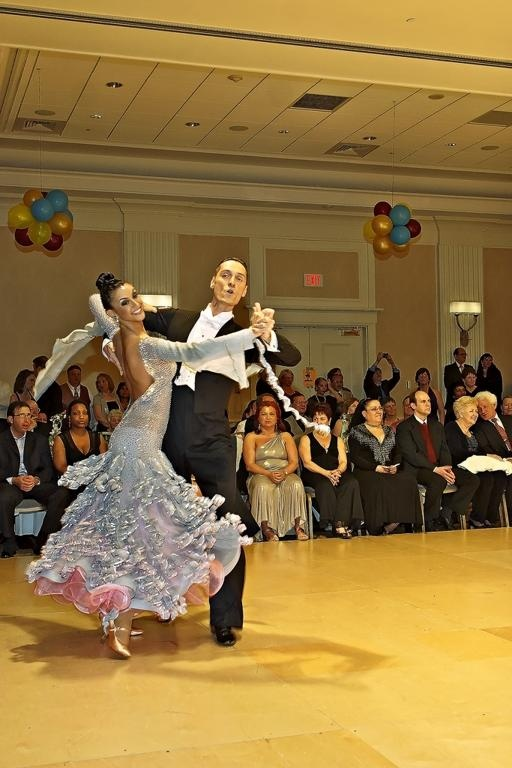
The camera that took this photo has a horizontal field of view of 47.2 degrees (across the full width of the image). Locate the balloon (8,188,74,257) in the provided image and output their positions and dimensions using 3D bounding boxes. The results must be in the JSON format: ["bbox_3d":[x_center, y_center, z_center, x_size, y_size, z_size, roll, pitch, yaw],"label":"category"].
[{"bbox_3d":[-2.779,-2.130,7.522,0.711,0.783,0.840,3,-9,-22],"label":"balloon"}]

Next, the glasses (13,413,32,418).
[{"bbox_3d":[-2.143,0.296,5.394,0.131,0.057,0.058,5,-10,-30],"label":"glasses"}]

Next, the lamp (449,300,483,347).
[{"bbox_3d":[3.969,-1.146,11.035,0.566,0.814,1.138,-3,-9,20],"label":"lamp"}]

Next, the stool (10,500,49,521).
[{"bbox_3d":[-2.090,1.155,5.379,0.345,0.113,0.323,0,-1,-3],"label":"stool"}]

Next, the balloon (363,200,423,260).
[{"bbox_3d":[2.101,-2.148,8.638,0.645,0.739,1.438,-5,-10,31],"label":"balloon"}]

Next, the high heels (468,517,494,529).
[{"bbox_3d":[2.396,1.476,6.260,0.319,0.117,0.113,-4,-2,22],"label":"high heels"}]

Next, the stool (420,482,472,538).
[{"bbox_3d":[2.033,1.314,6.309,0.473,0.473,1.224,-3,-9,19],"label":"stool"}]

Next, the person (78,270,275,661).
[{"bbox_3d":[-0.329,0.287,2.285,0.843,1.504,0.488,-1,-9,7],"label":"person"}]

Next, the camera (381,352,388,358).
[{"bbox_3d":[2.288,-0.496,10.370,0.103,0.058,0.136,-3,-44,7],"label":"camera"}]
